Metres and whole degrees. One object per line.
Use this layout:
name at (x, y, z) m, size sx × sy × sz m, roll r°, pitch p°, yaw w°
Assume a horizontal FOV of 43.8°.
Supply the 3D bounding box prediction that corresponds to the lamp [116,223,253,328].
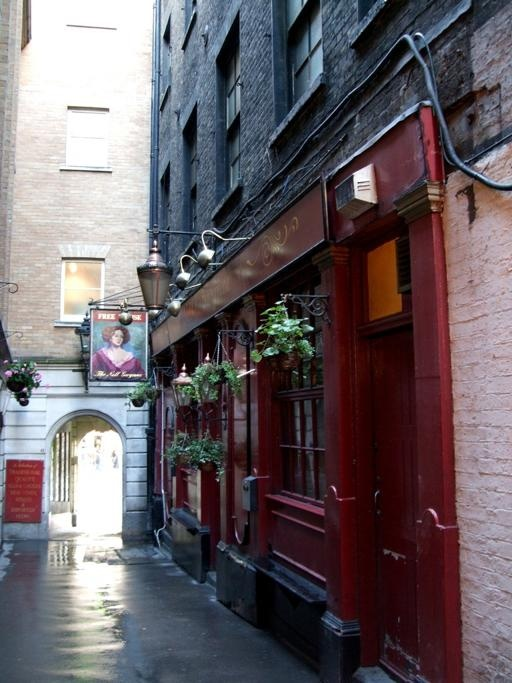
lamp at (-0.735, -0.729, 6.705) m, size 1.562 × 0.928 × 1.425 m, roll -5°, pitch -4°, yaw -29°

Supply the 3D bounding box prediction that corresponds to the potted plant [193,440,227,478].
potted plant at (-0.592, 1.478, 8.019) m, size 0.474 × 0.505 × 0.351 m, roll -2°, pitch -11°, yaw 8°

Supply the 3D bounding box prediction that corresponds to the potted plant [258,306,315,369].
potted plant at (0.220, 0.009, 4.829) m, size 0.463 × 0.512 × 0.465 m, roll 5°, pitch 3°, yaw 19°

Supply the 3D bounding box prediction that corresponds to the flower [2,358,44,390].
flower at (-4.439, 0.703, 12.191) m, size 0.605 × 0.443 × 0.607 m, roll 9°, pitch 19°, yaw 14°

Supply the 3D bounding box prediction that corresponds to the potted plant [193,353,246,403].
potted plant at (-0.508, 0.398, 7.360) m, size 0.538 × 0.554 × 0.611 m, roll 8°, pitch 1°, yaw -26°
